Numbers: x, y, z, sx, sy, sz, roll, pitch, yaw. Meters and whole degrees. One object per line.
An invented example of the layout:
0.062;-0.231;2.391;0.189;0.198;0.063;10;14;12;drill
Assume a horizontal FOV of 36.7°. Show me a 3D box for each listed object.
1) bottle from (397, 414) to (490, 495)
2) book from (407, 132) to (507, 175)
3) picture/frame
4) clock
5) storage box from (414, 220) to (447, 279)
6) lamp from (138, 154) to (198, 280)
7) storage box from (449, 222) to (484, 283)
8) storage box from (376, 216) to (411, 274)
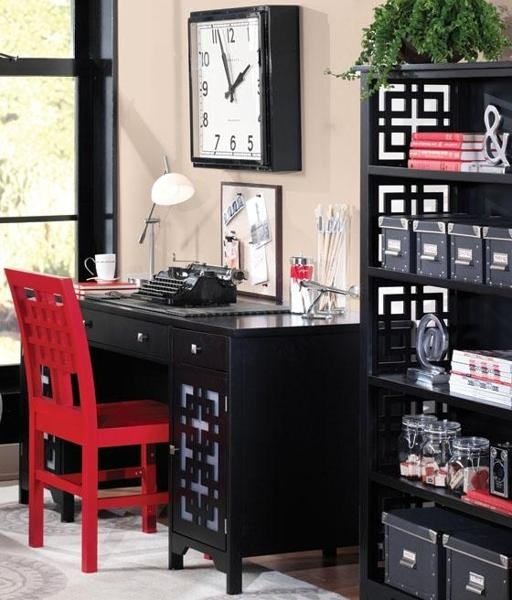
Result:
0.463;0.368;1.857;0.133;0.146;0.332;0;0;-26;bottle
0.443;-0.304;1.689;0.100;0.056;0.144;-2;5;-26;book
-0.010;-0.221;3.016;0.050;0.483;0.410;-2;4;-25;picture/frame
-0.034;-0.819;2.979;0.197;0.669;0.585;-5;10;-30;clock
0.421;-0.127;1.796;0.088;0.135;0.095;3;17;28;storage box
-0.405;-0.384;3.511;0.239;0.586;0.576;0;0;-9;lamp
0.441;-0.099;1.716;0.094;0.131;0.125;0;1;-21;storage box
0.371;-0.142;1.909;0.094;0.132;0.122;-8;12;-24;storage box
